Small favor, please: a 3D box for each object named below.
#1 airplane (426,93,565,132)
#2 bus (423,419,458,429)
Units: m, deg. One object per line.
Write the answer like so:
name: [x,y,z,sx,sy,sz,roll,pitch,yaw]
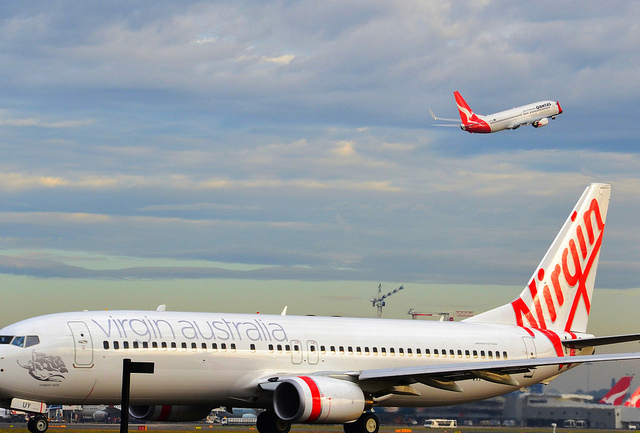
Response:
airplane: [11.722,-6.328,82.843,6.927,1.585,7.065,-12,1,-4]
bus: [10.782,18.363,118.853,3.875,0.830,1.257,8,-13,-35]
